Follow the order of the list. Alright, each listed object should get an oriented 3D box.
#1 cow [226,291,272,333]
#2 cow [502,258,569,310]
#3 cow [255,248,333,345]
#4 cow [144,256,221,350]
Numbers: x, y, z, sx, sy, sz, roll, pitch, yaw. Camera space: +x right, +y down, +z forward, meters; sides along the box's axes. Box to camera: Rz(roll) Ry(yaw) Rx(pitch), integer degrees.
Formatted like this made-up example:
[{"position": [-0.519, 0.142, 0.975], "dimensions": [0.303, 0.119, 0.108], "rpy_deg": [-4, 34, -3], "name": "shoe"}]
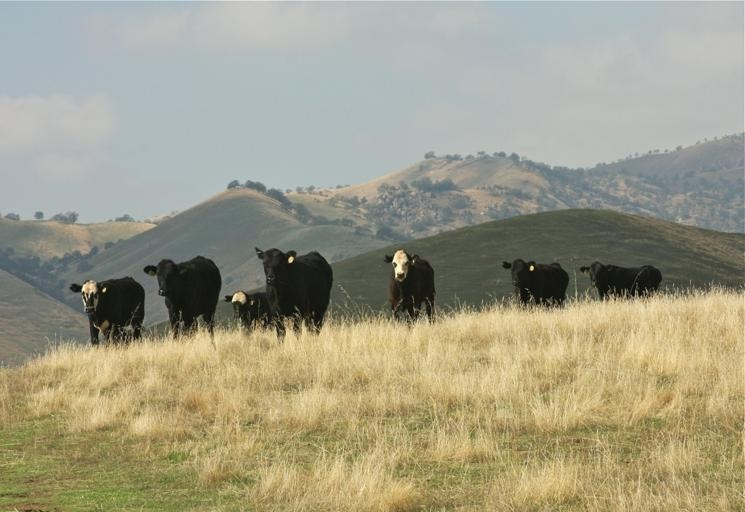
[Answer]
[{"position": [-4.329, 1.892, 39.722], "dimensions": [1.205, 1.714, 1.513], "rpy_deg": [2, 2, -6], "name": "cow"}, {"position": [5.752, 0.949, 38.869], "dimensions": [0.886, 1.764, 2.902], "rpy_deg": [-8, -15, 34], "name": "cow"}, {"position": [-2.521, 1.335, 35.007], "dimensions": [1.989, 2.946, 2.770], "rpy_deg": [2, 6, 4], "name": "cow"}, {"position": [-6.003, 1.341, 36.437], "dimensions": [1.350, 2.287, 4.262], "rpy_deg": [-1, 0, 10], "name": "cow"}]
